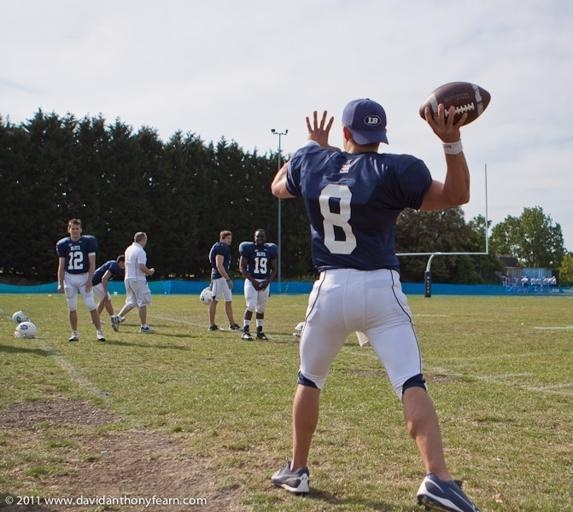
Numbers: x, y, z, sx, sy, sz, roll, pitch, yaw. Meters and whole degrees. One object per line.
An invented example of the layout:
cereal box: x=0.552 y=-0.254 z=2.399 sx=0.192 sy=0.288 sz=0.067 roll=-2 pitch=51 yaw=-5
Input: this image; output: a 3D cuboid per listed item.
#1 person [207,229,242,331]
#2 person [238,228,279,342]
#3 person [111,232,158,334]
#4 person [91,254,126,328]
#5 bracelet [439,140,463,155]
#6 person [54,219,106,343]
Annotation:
person: x=-1.150 y=0.392 z=12.409 sx=0.774 sy=1.911 sz=0.604 roll=0 pitch=0 yaw=-20
person: x=-0.487 y=0.420 z=11.274 sx=0.552 sy=1.976 sz=0.580 roll=3 pitch=6 yaw=-14
person: x=-2.705 y=0.426 z=12.156 sx=0.888 sy=1.911 sz=0.636 roll=0 pitch=0 yaw=-41
person: x=-3.593 y=0.668 z=13.721 sx=0.911 sy=1.435 sz=0.485 roll=11 pitch=-4 yaw=-19
bracelet: x=0.936 y=-0.615 z=3.733 sx=0.097 sy=0.085 sz=0.084 roll=0 pitch=0 yaw=10
person: x=-3.173 y=0.353 z=10.237 sx=0.681 sy=1.616 sz=0.836 roll=0 pitch=0 yaw=-18
